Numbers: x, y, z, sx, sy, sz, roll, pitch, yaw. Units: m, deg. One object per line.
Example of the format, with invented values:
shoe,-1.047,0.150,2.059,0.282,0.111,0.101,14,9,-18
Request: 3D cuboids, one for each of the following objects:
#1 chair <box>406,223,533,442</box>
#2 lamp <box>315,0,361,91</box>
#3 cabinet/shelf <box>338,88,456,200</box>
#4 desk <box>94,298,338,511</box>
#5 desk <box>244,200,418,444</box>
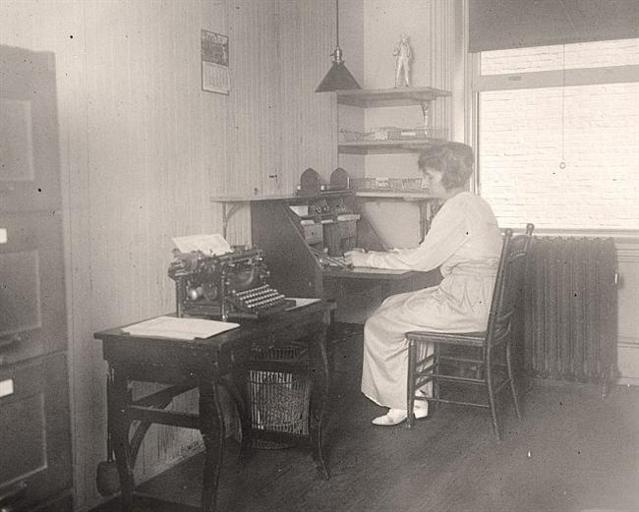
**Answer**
chair,0.811,0.380,3.591,0.591,1.122,0.575,0,10,10
lamp,0.135,-1.552,4.456,0.311,0.743,0.728,0,9,3
cabinet/shelf,0.564,-1.030,4.741,0.775,0.520,0.458,7,11,35
desk,-0.427,0.533,2.913,0.704,1.138,1.488,0,1,19
desk,0.255,0.141,4.133,0.743,1.165,1.115,1,4,29
